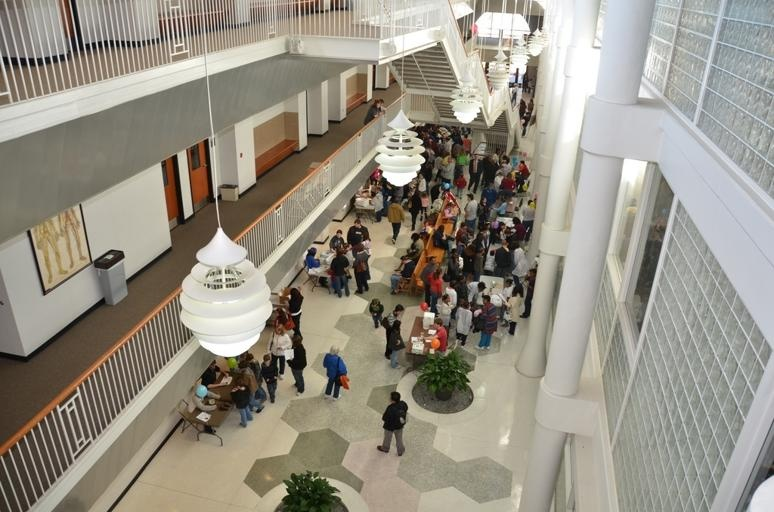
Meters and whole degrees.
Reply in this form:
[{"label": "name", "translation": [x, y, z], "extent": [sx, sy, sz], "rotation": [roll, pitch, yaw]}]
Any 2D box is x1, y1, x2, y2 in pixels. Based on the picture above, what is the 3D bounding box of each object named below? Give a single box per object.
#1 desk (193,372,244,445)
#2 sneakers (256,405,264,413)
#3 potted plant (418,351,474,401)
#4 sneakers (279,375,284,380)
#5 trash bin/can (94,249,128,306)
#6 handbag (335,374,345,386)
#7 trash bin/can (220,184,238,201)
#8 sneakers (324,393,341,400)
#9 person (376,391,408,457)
[{"label": "desk", "translation": [-3.475, 3.126, 10.171], "extent": [0.669, 0.681, 1.559], "rotation": [17, 39, -7]}, {"label": "sneakers", "translation": [-2.782, 3.282, 10.784], "extent": [0.096, 0.080, 0.207], "rotation": [25, 69, 17]}, {"label": "potted plant", "translation": [1.278, 2.816, 11.281], "extent": [1.139, 1.190, 0.934], "rotation": [-11, 81, 6]}, {"label": "sneakers", "translation": [-2.471, 2.780, 11.577], "extent": [0.066, 0.128, 0.135], "rotation": [-6, 77, -6]}, {"label": "trash bin/can", "translation": [-5.417, 0.421, 9.685], "extent": [0.383, 0.953, 0.575], "rotation": [13, 36, 10]}, {"label": "handbag", "translation": [-1.018, 2.592, 10.620], "extent": [0.117, 0.226, 0.173], "rotation": [18, 73, -2]}, {"label": "trash bin/can", "translation": [-4.392, -1.751, 13.763], "extent": [0.360, 0.380, 0.203], "rotation": [6, 41, -1]}, {"label": "sneakers", "translation": [-1.214, 3.096, 11.044], "extent": [0.385, 0.169, 0.137], "rotation": [2, 72, -3]}, {"label": "person", "translation": [0.087, 3.201, 9.771], "extent": [0.538, 1.512, 0.519], "rotation": [3, 32, 6]}]
